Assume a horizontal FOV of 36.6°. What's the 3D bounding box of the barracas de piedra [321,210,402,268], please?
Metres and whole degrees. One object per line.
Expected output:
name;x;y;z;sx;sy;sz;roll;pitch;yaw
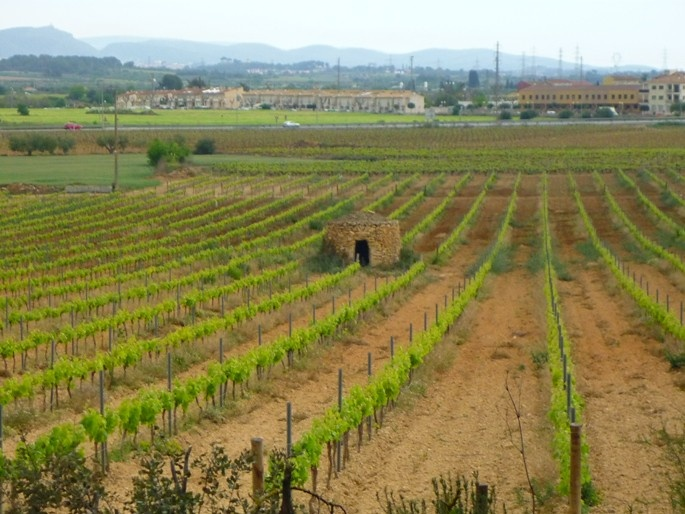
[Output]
barracas de piedra;0.995;-0.843;50.677;2.590;2.084;2.752;4;7;36
